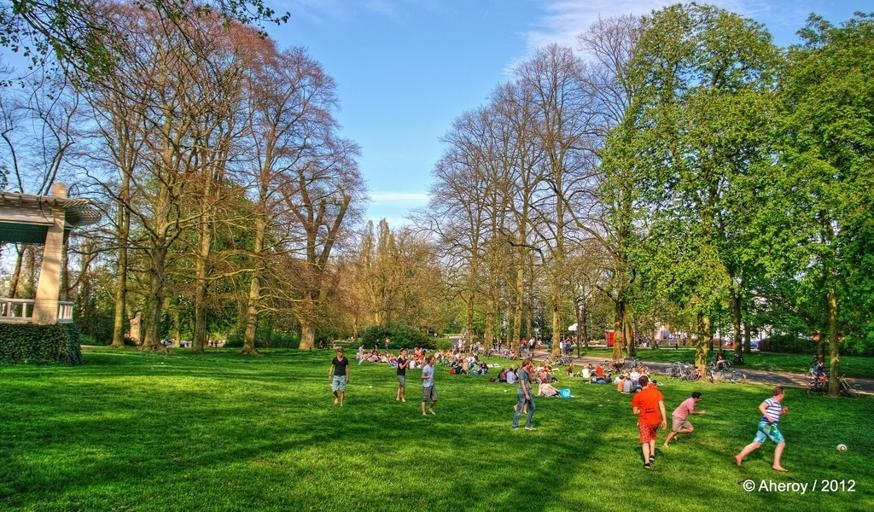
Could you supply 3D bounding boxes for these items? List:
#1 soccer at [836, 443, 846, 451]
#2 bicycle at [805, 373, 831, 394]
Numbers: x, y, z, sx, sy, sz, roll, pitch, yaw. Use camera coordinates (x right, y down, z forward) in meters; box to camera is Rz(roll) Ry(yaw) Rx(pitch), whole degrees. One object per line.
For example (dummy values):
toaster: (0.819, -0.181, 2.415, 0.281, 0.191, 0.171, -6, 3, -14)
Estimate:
soccer: (21.258, 9.979, 34.002, 0.474, 0.354, 0.795, -5, -12, 36)
bicycle: (25.382, 8.345, 43.108, 1.003, 1.251, 2.085, 4, -10, -10)
